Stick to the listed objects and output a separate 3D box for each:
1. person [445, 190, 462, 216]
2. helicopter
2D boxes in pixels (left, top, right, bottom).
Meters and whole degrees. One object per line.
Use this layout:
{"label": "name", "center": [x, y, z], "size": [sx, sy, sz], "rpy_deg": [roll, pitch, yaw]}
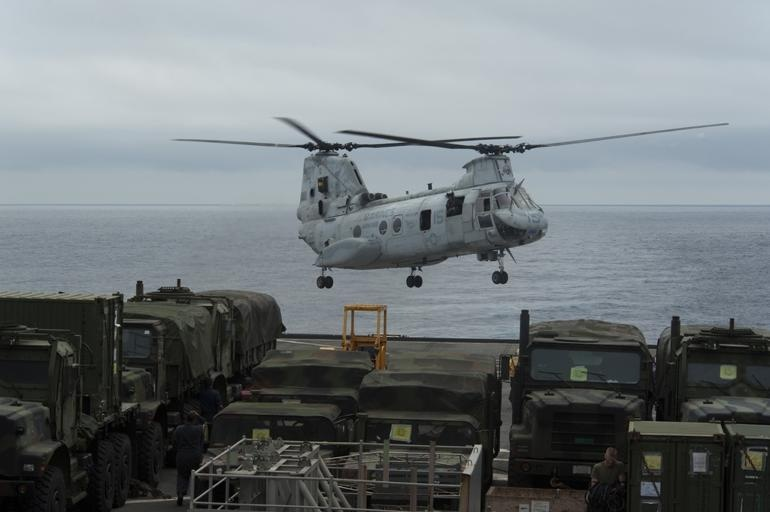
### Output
{"label": "person", "center": [2.603, -1.890, 38.185], "size": [0.737, 0.764, 0.341], "rpy_deg": [3, 2, 32]}
{"label": "helicopter", "center": [0.333, -1.545, 41.561], "size": [10.952, 4.862, 13.504], "rpy_deg": [-1, -2, -43]}
